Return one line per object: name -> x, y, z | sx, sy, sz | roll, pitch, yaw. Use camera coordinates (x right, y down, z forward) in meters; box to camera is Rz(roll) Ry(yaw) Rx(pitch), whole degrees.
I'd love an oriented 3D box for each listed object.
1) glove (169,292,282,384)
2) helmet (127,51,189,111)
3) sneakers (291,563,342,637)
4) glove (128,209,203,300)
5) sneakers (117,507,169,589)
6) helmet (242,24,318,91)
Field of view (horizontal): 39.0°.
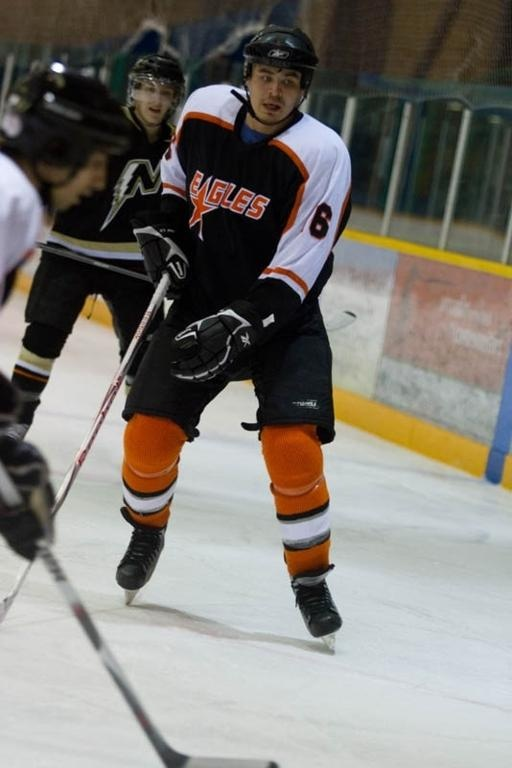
glove -> -0.079, -0.105, 1.754 | 0.102, 0.269, 0.141 | -14, 76, -50
helmet -> -0.343, -1.077, 2.543 | 0.226, 0.193, 0.166 | 15, 35, -10
sneakers -> 0.131, 0.536, 1.852 | 0.083, 0.091, 0.223 | -15, 27, -4
glove -> -0.254, -0.350, 1.990 | 0.090, 0.143, 0.232 | -6, 68, -49
sneakers -> -0.317, 0.451, 1.960 | 0.091, 0.094, 0.233 | 5, 16, 5
helmet -> 0.053, -0.795, 1.803 | 0.160, 0.129, 0.180 | 10, 16, -6
